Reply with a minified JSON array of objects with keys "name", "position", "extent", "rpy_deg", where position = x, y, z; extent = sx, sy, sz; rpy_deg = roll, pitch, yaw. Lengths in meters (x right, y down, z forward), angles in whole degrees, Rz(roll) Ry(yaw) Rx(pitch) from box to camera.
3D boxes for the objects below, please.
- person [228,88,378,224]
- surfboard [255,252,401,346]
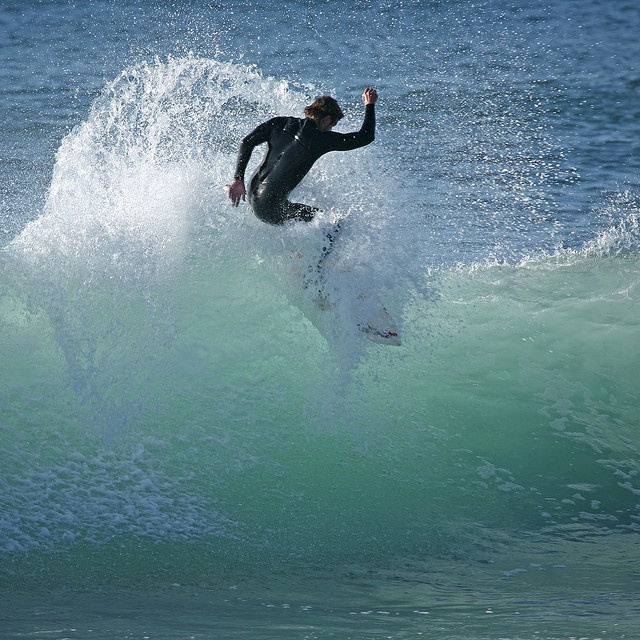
[{"name":"person","position":[-0.159,-1.398,9.352],"extent":[1.475,1.250,0.496],"rpy_deg":[-23,57,-1]},{"name":"surfboard","position":[0.136,-0.237,10.227],"extent":[1.657,0.564,0.564],"rpy_deg":[31,105,7]}]
